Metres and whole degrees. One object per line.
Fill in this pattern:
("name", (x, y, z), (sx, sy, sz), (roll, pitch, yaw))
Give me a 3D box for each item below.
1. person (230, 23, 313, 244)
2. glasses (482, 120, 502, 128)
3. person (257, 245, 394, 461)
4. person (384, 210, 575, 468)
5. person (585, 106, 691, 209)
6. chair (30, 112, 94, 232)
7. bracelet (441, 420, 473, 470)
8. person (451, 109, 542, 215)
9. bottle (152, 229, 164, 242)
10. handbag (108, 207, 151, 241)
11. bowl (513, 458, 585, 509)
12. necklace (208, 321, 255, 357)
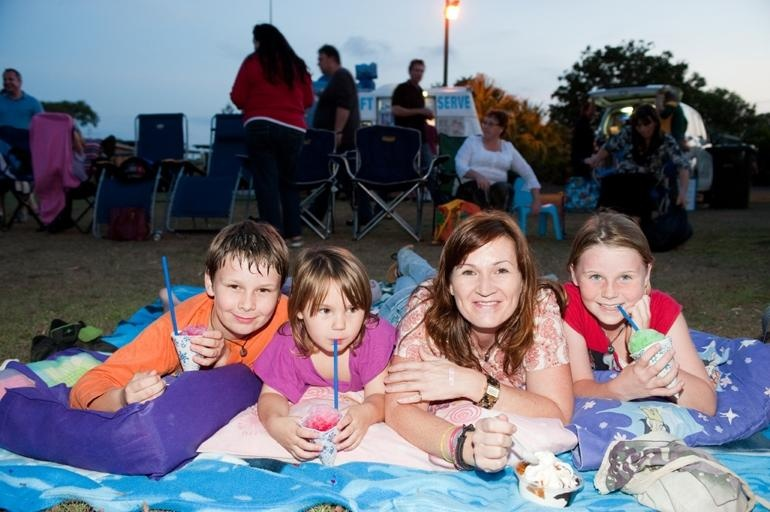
("person", (-1.223, -1.264, 6.432), (0.599, 2.318, 0.851), (7, 8, 35))
("glasses", (1.326, -1.619, 7.132), (0.137, 0.044, 0.133), (8, -1, -24))
("person", (-0.269, 0.467, 2.863), (0.738, 1.002, 0.513), (1, 6, -14))
("person", (0.468, 0.509, 3.008), (0.876, 1.261, 0.505), (4, -28, 9))
("person", (3.222, -1.195, 7.266), (0.985, 1.233, 1.731), (5, 6, 21))
("chair", (-4.599, -1.191, 8.176), (0.720, 1.651, 0.674), (1, 6, -15))
("bracelet", (0.335, 0.869, 2.650), (0.087, 0.180, 0.153), (3, -15, -20))
("person", (1.415, -1.196, 7.189), (1.017, 1.223, 0.667), (0, 7, -20))
("bottle", (-3.067, -0.263, 7.760), (0.151, 0.081, 0.264), (6, 20, -13))
("handbag", (-3.374, -0.415, 7.600), (0.415, 0.383, 0.190), (-1, -10, -8))
("bowl", (0.709, 0.967, 2.488), (0.223, 0.141, 0.217), (4, 9, -1))
("necklace", (-0.862, 0.482, 3.298), (0.188, 0.156, 0.151), (0, 4, -2))
